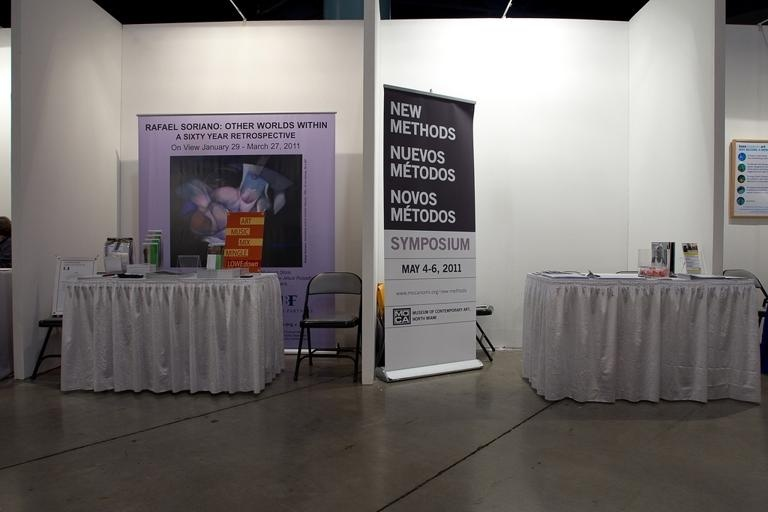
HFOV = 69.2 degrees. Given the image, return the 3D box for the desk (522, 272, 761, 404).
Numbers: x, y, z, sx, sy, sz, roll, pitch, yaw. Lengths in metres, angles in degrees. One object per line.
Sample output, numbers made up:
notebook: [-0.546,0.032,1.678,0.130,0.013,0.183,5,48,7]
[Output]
desk: [2.546,0.796,5.334,1.998,1.147,0.362,0,14,1]

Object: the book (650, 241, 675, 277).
book: [2.781,0.015,5.574,0.234,0.310,0.271,6,16,25]

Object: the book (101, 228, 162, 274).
book: [-2.614,-0.043,5.903,0.490,0.509,0.469,0,7,7]

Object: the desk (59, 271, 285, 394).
desk: [-2.222,0.786,5.551,1.992,1.112,0.382,1,14,4]

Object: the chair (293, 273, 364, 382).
chair: [-0.657,0.773,6.453,0.781,1.111,1.263,-2,15,-5]
